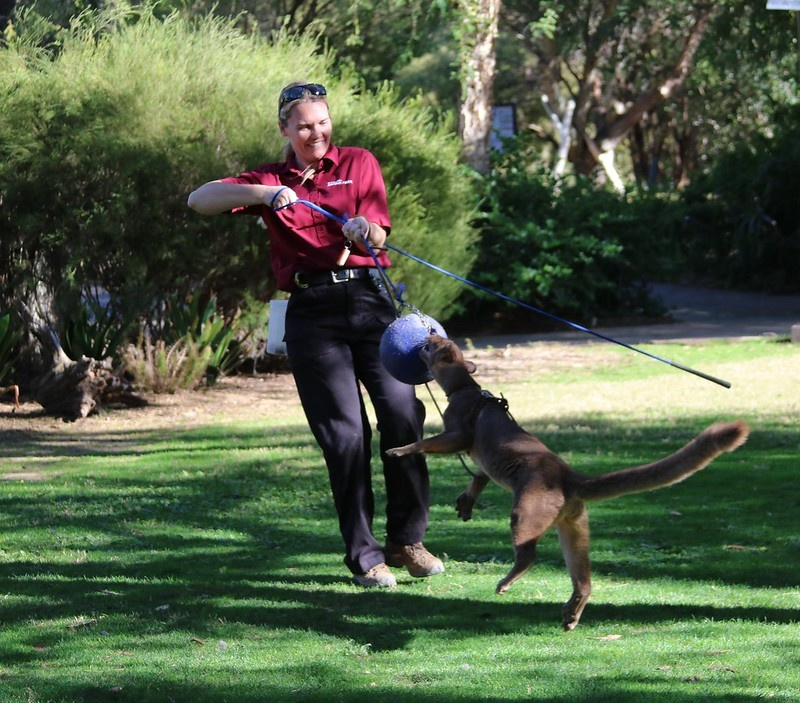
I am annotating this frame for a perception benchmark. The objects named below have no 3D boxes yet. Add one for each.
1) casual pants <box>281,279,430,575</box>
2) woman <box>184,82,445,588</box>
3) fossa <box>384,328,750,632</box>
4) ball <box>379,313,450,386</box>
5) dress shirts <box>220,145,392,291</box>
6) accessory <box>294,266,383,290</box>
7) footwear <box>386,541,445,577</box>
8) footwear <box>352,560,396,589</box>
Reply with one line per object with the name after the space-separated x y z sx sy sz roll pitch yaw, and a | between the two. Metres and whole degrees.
-0.265 0.539 12.367 0.954 2.128 0.698 -10 -1 -21 | casual pants
-0.640 -0.150 12.486 1.390 3.839 1.633 -1 2 -36 | woman
1.011 0.702 11.491 0.781 1.926 2.738 10 23 -46 | fossa
0.102 -0.011 12.216 0.513 0.579 0.514 2 12 0 | ball
-0.642 -1.009 12.375 1.126 1.026 0.595 -10 -8 1 | dress shirts
-0.453 -0.545 12.173 0.615 0.143 0.087 -3 13 -8 | accessory
0.104 1.561 12.391 0.494 0.233 0.194 9 11 17 | footwear
-0.194 1.664 12.254 0.159 0.153 0.337 0 -3 -40 | footwear
